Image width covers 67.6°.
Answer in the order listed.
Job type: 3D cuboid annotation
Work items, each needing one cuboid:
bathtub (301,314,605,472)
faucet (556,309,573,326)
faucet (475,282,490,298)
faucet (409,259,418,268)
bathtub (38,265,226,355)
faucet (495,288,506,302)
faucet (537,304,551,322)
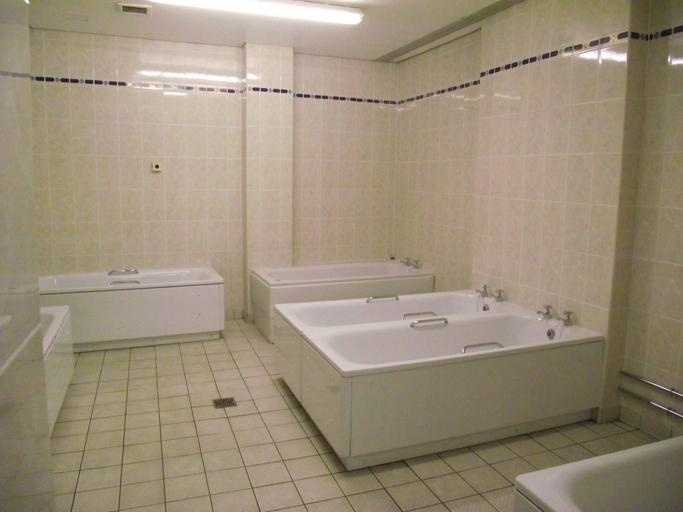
[{"bbox_3d":[0.732,0.794,3.384,1.907,0.602,0.708,-4,14,-19],"label":"bathtub"},{"bbox_3d":[1.565,0.428,3.537,0.119,0.127,0.059,2,-1,-44],"label":"faucet"},{"bbox_3d":[1.162,0.275,4.256,0.072,0.106,0.108,-2,9,-21],"label":"faucet"},{"bbox_3d":[0.772,0.084,5.355,0.115,0.111,0.068,-1,3,-18],"label":"faucet"},{"bbox_3d":[-1.926,0.460,4.745,1.544,0.611,0.732,-5,15,-21],"label":"bathtub"},{"bbox_3d":[1.281,0.314,4.106,0.080,0.095,0.084,2,14,6],"label":"faucet"},{"bbox_3d":[1.469,0.408,3.675,0.107,0.105,0.074,5,1,27],"label":"faucet"}]
